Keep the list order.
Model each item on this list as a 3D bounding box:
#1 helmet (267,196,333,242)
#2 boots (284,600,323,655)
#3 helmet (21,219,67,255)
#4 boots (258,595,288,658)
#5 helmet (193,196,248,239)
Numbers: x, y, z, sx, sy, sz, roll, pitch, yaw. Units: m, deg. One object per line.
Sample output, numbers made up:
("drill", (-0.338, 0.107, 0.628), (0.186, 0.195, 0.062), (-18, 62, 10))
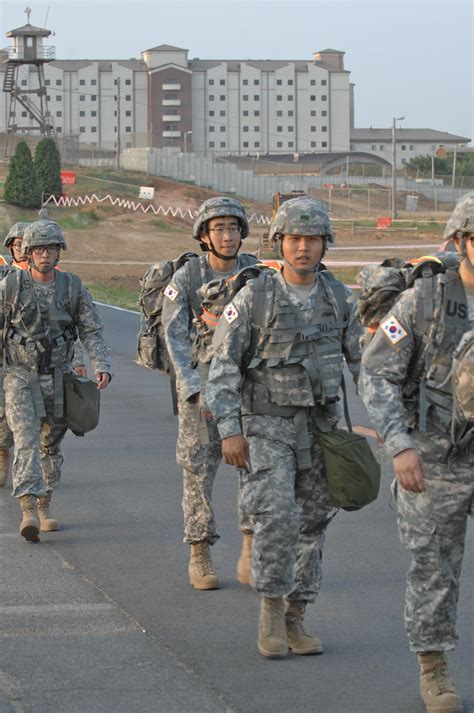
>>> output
("helmet", (0.297, -0.620, 4.505), (0.254, 0.146, 0.235), (-1, 11, -1))
("boots", (0.294, 1.180, 4.387), (0.123, 0.198, 0.302), (-3, 1, -16))
("helmet", (-1.274, -0.775, 6.707), (0.262, 0.214, 0.299), (-2, -25, -9))
("boots", (0.159, 1.148, 4.245), (0.125, 0.252, 0.153), (0, 5, 2))
("helmet", (-0.091, -0.822, 5.769), (0.293, 0.185, 0.270), (-1, -12, -11))
